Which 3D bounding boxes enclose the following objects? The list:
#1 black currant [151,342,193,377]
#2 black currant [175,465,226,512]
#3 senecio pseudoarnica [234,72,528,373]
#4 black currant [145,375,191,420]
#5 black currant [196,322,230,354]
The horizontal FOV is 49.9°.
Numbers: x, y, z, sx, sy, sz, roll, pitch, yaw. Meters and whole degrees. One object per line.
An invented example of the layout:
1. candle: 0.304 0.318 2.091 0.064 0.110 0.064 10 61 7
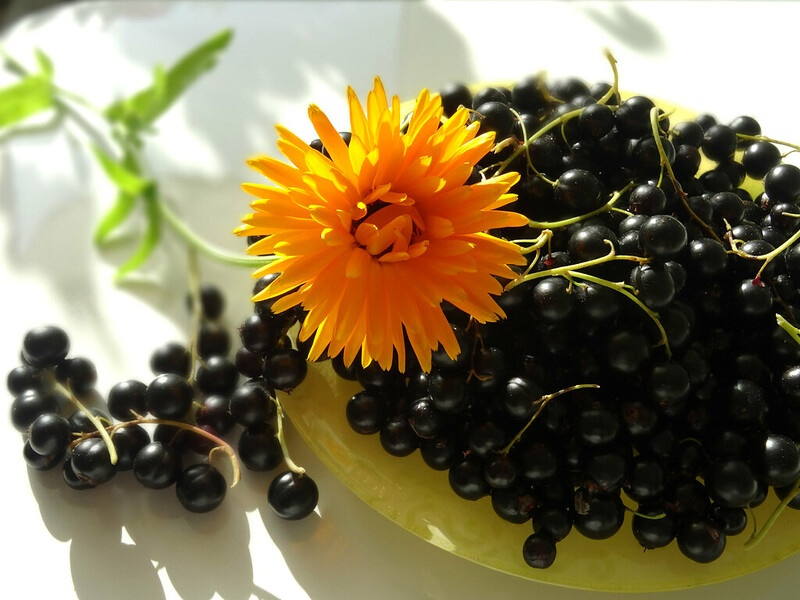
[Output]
1. black currant: -0.283 0.077 1.070 0.045 0.040 0.031 3 9 -6
2. black currant: -0.234 0.216 1.016 0.057 0.055 0.053 2 0 -11
3. senecio pseudoarnica: -0.021 -0.071 0.894 0.296 0.281 0.132 -12 -19 8
4. black currant: -0.276 0.118 1.020 0.037 0.043 0.038 16 30 42
5. black currant: -0.238 0.051 1.092 0.038 0.044 0.037 0 1 -19
